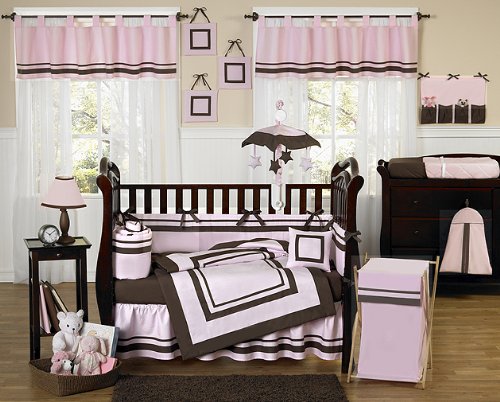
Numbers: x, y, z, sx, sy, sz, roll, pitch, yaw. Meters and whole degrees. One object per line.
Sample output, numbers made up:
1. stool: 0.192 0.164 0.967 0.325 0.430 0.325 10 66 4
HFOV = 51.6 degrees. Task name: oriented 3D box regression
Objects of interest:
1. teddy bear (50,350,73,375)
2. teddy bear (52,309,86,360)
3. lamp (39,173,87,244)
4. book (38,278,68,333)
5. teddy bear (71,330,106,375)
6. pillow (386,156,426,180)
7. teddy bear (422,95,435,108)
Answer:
1. teddy bear: -1.069 0.919 2.929 0.135 0.168 0.111 7 -13 -44
2. teddy bear: -1.056 0.789 3.074 0.190 0.300 0.189 -4 18 -29
3. lamp: -1.207 0.051 3.365 0.350 0.445 0.373 -1 15 -25
4. book: -1.198 0.642 3.186 0.176 0.281 0.082 -14 -2 26
5. teddy bear: -0.926 0.894 3.005 0.169 0.273 0.118 1 8 -18
6. pillow: 1.290 -0.270 4.293 0.204 0.089 0.228 -3 13 9
7. teddy bear: 1.633 -0.911 4.727 0.133 0.088 0.036 -2 10 -14
